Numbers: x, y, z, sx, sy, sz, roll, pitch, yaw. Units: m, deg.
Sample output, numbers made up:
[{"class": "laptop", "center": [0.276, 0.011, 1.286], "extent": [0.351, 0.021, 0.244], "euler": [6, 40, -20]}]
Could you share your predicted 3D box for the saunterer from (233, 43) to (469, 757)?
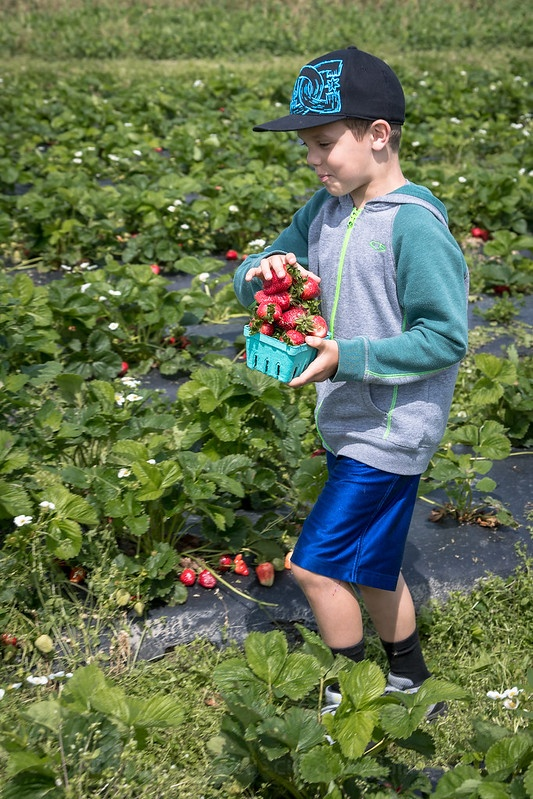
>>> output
[{"class": "saunterer", "center": [0.254, 0.014, 2.131], "extent": [0.801, 1.970, 0.726], "euler": [1, 8, 21]}]

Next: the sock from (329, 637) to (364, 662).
[{"class": "sock", "center": [0.235, 0.722, 2.073], "extent": [0.080, 0.071, 0.076], "euler": [-3, -2, -1]}]

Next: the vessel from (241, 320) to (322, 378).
[{"class": "vessel", "center": [0.023, -0.129, 1.999], "extent": [0.195, 0.091, 0.144], "euler": [28, 18, 27]}]

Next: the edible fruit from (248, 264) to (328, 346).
[{"class": "edible fruit", "center": [0.056, -0.229, 2.034], "extent": [0.227, 0.233, 0.117], "euler": [17, -30, -10]}]

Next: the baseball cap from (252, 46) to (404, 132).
[{"class": "baseball cap", "center": [0.173, -0.828, 1.920], "extent": [0.401, 0.182, 0.233], "euler": [-5, 26, -7]}]
